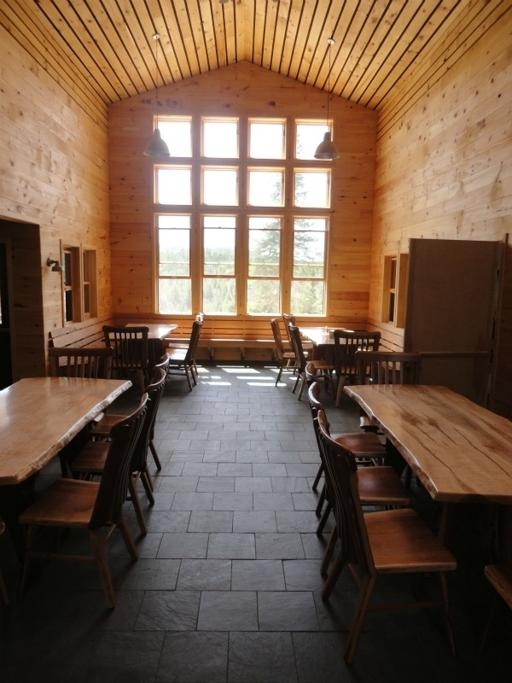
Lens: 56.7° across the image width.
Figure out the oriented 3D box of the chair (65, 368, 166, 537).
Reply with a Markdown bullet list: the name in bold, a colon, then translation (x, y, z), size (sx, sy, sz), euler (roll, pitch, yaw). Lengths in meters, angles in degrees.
- **chair**: translation (-0.729, 0.596, 2.484), size (0.428, 0.741, 0.633), euler (8, 16, -1)

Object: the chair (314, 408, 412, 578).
- **chair**: translation (0.463, 0.662, 2.039), size (0.444, 0.729, 0.527), euler (-3, 24, 0)

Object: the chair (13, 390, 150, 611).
- **chair**: translation (-0.784, 0.732, 2.128), size (0.544, 0.845, 0.560), euler (7, 14, -5)

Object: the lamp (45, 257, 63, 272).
- **lamp**: translation (-2.028, -0.783, 4.791), size (0.130, 0.115, 0.081), euler (-1, -2, 40)
